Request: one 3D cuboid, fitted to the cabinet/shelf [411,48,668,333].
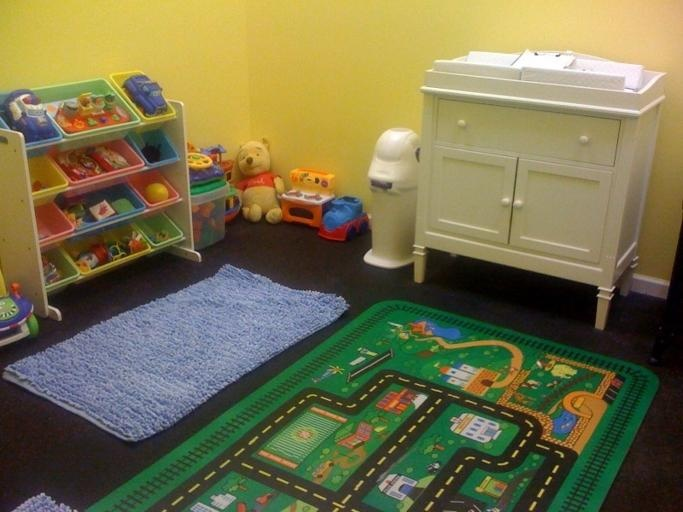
[{"bbox_3d":[1.020,-0.427,2.831,1.105,1.235,0.667,13,26,29],"label":"cabinet/shelf"}]

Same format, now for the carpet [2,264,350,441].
[{"bbox_3d":[-0.728,0.413,2.529,0.676,0.155,1.059,18,29,35],"label":"carpet"}]

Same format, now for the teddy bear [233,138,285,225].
[{"bbox_3d":[-0.611,-0.562,3.883,0.348,0.458,0.561,-6,32,-11],"label":"teddy bear"}]

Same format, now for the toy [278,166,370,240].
[{"bbox_3d":[-0.132,-0.380,3.725,0.701,0.327,0.390,25,39,34],"label":"toy"}]
